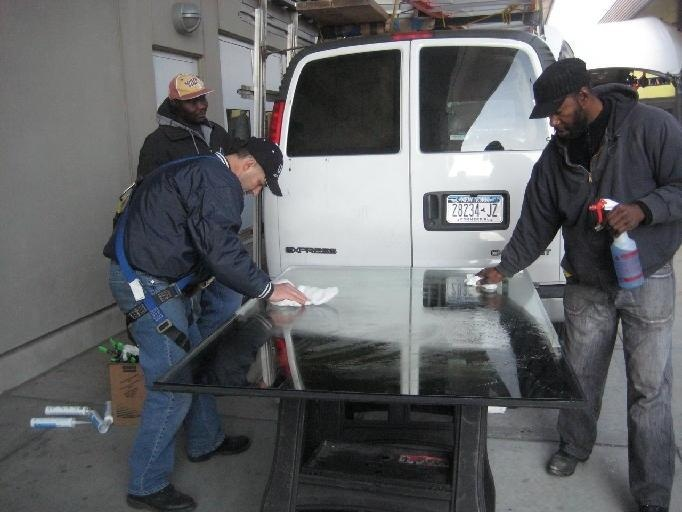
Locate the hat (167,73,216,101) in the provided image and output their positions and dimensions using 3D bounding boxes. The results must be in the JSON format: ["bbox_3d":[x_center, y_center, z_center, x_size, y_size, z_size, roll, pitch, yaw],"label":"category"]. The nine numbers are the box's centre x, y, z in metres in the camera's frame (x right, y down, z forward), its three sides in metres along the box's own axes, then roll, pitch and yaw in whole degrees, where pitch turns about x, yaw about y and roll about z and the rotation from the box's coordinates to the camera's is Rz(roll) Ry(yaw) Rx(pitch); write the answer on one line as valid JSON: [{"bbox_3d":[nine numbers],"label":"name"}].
[{"bbox_3d":[-1.166,-1.259,4.262,0.313,0.156,0.228,15,36,30],"label":"hat"}]

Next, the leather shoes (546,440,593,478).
[{"bbox_3d":[1.314,1.180,3.233,0.142,0.159,0.397,13,1,43],"label":"leather shoes"}]

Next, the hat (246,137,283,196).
[{"bbox_3d":[-0.390,-0.445,2.791,0.183,0.278,0.235,-1,18,-9],"label":"hat"}]

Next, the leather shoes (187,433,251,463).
[{"bbox_3d":[-0.740,1.156,3.431,0.361,0.167,0.130,-10,16,-28],"label":"leather shoes"}]
